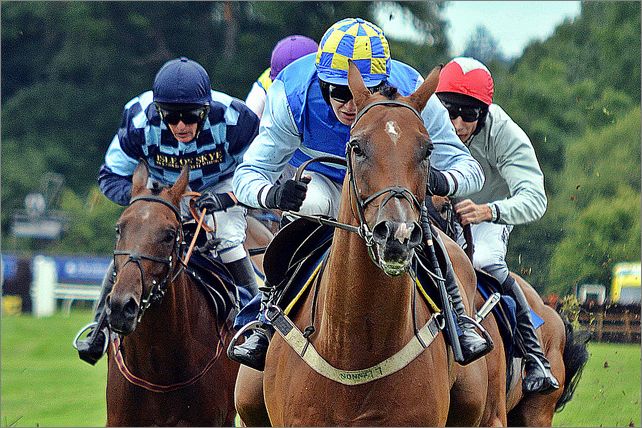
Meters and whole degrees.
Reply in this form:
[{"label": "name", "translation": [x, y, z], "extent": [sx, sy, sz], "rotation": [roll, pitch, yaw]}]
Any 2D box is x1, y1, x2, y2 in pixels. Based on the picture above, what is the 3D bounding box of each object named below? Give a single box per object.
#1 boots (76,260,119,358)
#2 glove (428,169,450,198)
[{"label": "boots", "translation": [-2.960, 1.314, 15.953], "extent": [0.385, 1.334, 0.644], "rotation": [19, -9, -17]}, {"label": "glove", "translation": [1.421, -0.367, 14.470], "extent": [0.312, 0.319, 0.248], "rotation": [-9, -8, 4]}]
